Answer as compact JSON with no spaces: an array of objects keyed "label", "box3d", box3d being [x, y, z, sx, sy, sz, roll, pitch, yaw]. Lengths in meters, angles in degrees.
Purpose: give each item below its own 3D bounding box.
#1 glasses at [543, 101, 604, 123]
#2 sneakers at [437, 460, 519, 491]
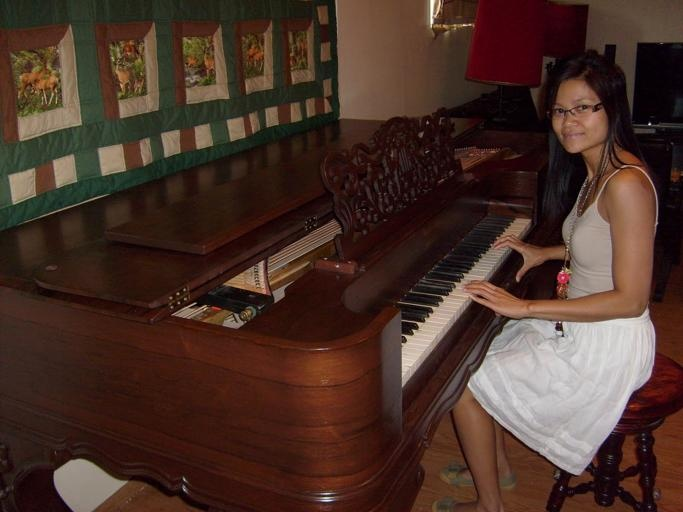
[{"label":"glasses","box3d":[0.855,-0.532,1.797,0.178,0.055,0.078,9,23,29]},{"label":"sneakers","box3d":[0.692,1.119,2.488,0.355,0.087,0.147,7,37,10]}]
